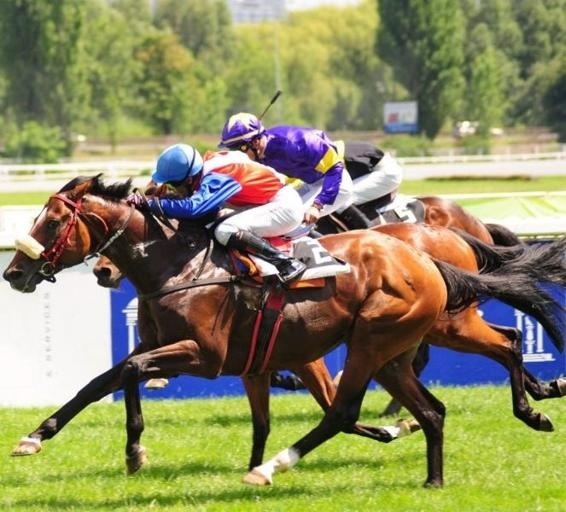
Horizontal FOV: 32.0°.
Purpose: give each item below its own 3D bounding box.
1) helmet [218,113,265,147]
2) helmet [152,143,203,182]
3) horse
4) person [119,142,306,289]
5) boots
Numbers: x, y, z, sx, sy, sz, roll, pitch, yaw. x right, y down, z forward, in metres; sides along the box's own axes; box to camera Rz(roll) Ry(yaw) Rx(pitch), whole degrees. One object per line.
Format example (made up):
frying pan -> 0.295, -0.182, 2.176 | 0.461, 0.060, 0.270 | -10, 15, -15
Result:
helmet -> -0.251, -0.822, 6.434 | 0.383, 0.161, 0.239 | -11, 20, 0
helmet -> -0.626, -0.546, 5.893 | 0.313, 0.155, 0.195 | -24, 45, -7
horse -> 0.083, 0.454, 6.042 | 3.173, 1.909, 1.028 | -5, 10, -24
person -> -0.457, -0.296, 6.084 | 1.228, 0.684, 0.647 | 7, 14, -22
boots -> -0.082, 0.004, 5.873 | 0.611, 0.171, 0.207 | 19, 34, -7
